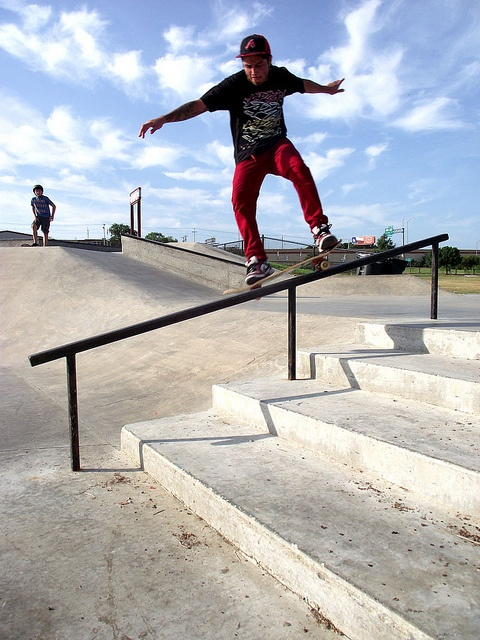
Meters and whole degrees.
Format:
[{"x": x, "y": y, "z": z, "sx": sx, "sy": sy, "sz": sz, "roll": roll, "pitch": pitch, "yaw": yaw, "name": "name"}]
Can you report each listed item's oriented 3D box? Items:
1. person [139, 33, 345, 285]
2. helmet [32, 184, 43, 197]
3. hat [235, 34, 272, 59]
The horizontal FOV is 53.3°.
[{"x": 0.187, "y": -1.051, "z": 2.990, "sx": 1.515, "sy": 1.505, "sz": 0.561, "roll": -11, "pitch": -6, "yaw": -4, "name": "person"}, {"x": -4.570, "y": -2.932, "z": 10.853, "sx": 0.179, "sy": 0.272, "sz": 0.494, "roll": -8, "pitch": 7, "yaw": -24, "name": "helmet"}, {"x": 0.100, "y": -1.613, "z": 2.821, "sx": 0.191, "sy": 0.133, "sz": 0.170, "roll": -5, "pitch": 6, "yaw": -8, "name": "hat"}]
